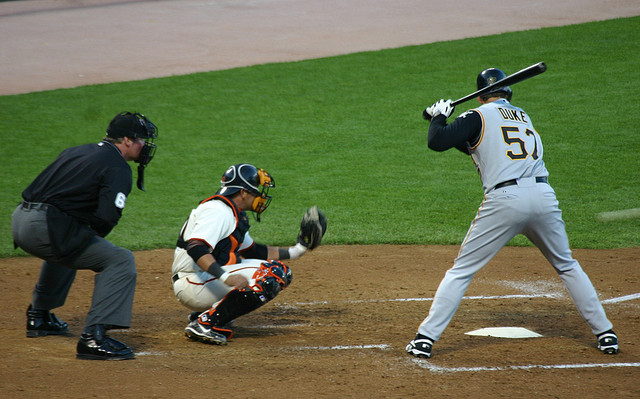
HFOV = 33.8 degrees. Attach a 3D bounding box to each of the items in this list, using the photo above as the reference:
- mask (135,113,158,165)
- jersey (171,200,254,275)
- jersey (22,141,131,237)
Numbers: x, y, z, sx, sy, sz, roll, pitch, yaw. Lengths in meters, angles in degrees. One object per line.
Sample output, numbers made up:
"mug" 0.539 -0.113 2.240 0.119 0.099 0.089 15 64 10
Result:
"mask" -2.956 -1.020 17.726 0.358 0.878 0.695 6 11 -9
"jersey" -1.837 0.618 17.701 1.039 1.176 0.935 -1 1 -31
"jersey" -3.924 -0.198 17.179 1.516 1.386 0.497 8 12 11
